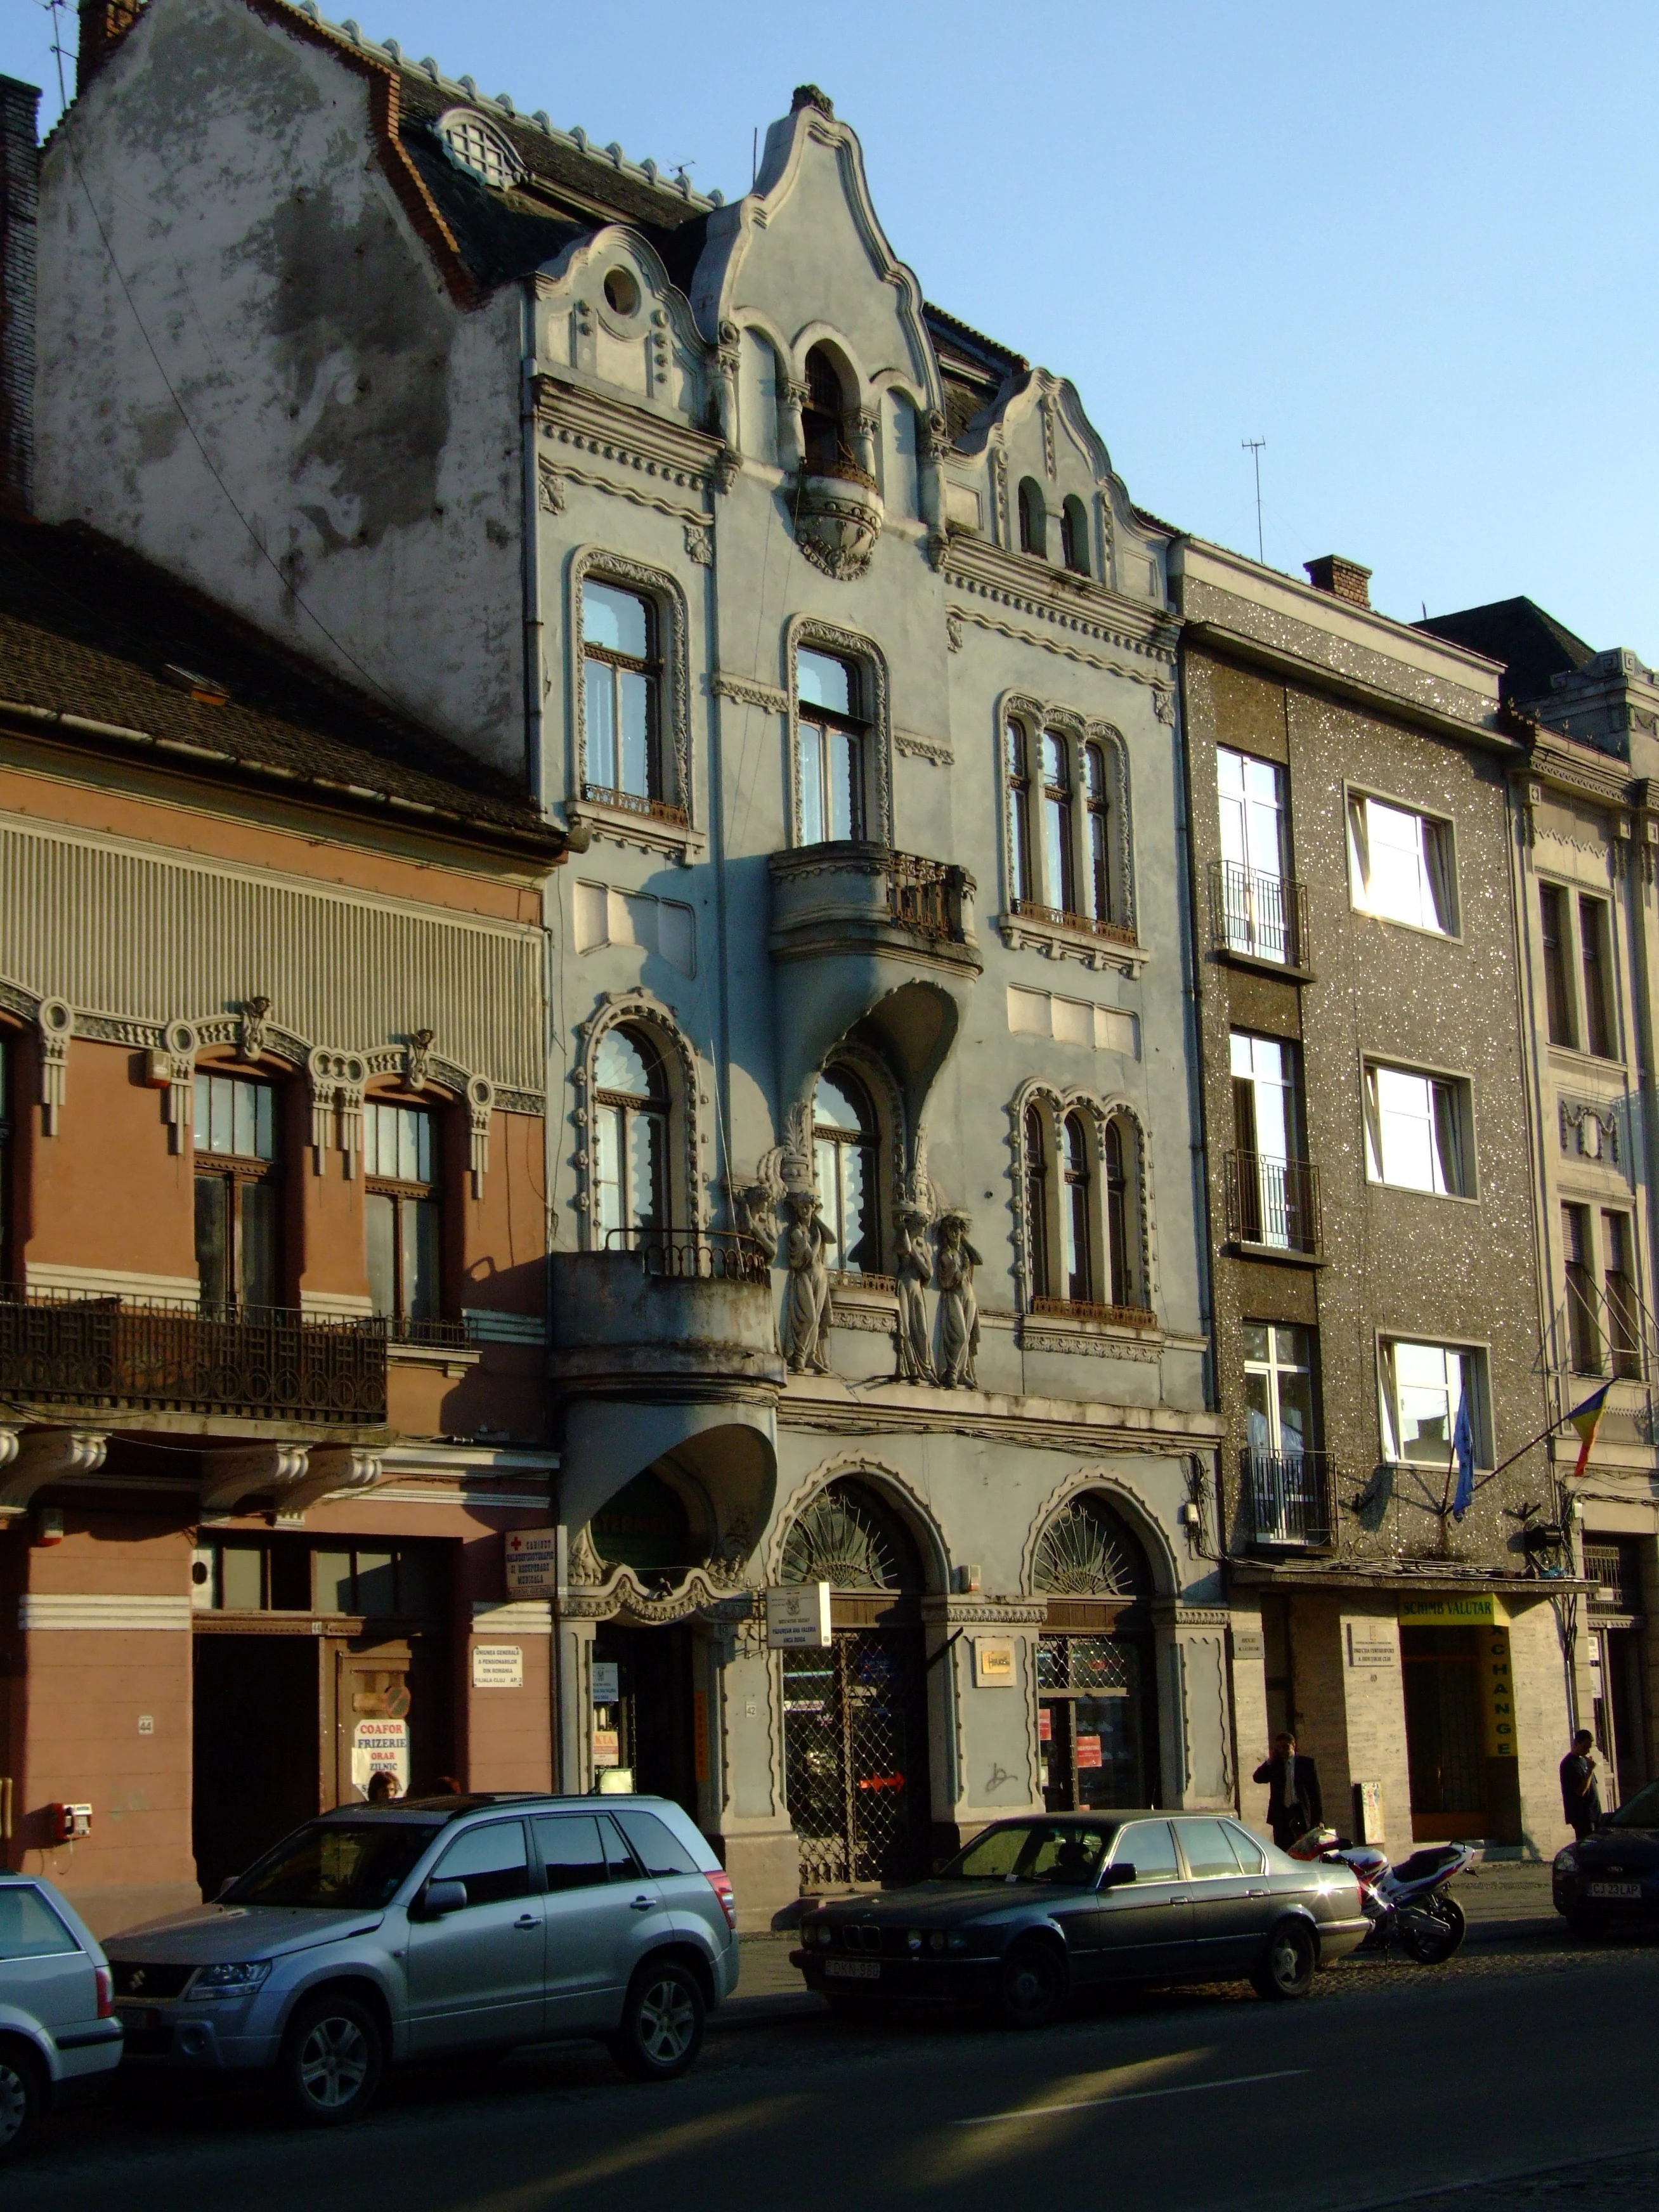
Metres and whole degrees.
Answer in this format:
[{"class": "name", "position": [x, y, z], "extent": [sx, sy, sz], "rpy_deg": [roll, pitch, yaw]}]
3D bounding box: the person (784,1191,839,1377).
[{"class": "person", "position": [-0.187, 1.570, 28.992], "extent": [0.220, 1.643, 0.594], "rpy_deg": [-8, -14, 31]}]

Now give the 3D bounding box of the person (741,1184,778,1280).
[{"class": "person", "position": [-0.644, 1.029, 28.504], "extent": [0.262, 0.761, 0.770], "rpy_deg": [-3, -12, 7]}]

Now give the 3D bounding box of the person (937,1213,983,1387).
[{"class": "person", "position": [1.247, 1.870, 30.768], "extent": [0.241, 1.654, 0.688], "rpy_deg": [-9, -14, 32]}]

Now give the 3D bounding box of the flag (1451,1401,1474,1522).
[{"class": "flag", "position": [7.417, 4.108, 38.031], "extent": [0.262, 1.470, 1.144], "rpy_deg": [-3, -12, 11]}]

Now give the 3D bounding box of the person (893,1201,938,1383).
[{"class": "person", "position": [0.816, 1.771, 30.285], "extent": [0.216, 1.660, 0.609], "rpy_deg": [-9, -14, 34]}]

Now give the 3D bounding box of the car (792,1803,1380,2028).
[{"class": "car", "position": [1.763, 5.422, 21.995], "extent": [1.901, 1.255, 4.484], "rpy_deg": [-12, -16, 41]}]

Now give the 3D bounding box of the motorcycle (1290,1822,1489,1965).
[{"class": "motorcycle", "position": [4.439, 6.092, 25.165], "extent": [1.763, 1.146, 0.922], "rpy_deg": [8, -32, -33]}]

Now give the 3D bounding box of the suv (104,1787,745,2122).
[{"class": "suv", "position": [-2.200, 4.481, 17.187], "extent": [1.452, 1.282, 2.997], "rpy_deg": [-14, -21, 38]}]
